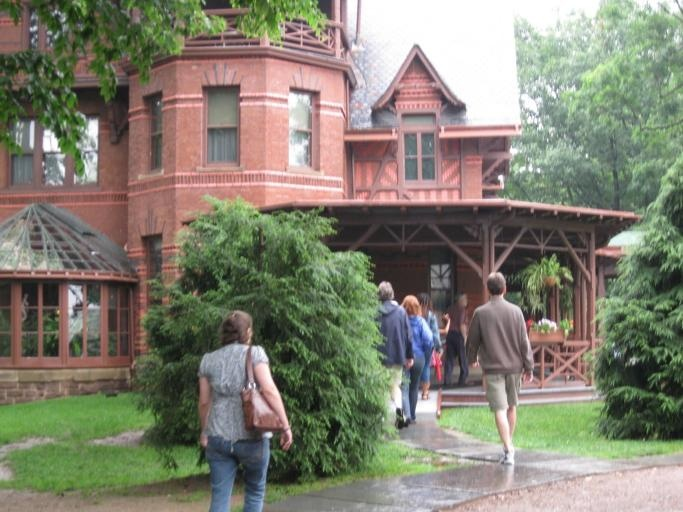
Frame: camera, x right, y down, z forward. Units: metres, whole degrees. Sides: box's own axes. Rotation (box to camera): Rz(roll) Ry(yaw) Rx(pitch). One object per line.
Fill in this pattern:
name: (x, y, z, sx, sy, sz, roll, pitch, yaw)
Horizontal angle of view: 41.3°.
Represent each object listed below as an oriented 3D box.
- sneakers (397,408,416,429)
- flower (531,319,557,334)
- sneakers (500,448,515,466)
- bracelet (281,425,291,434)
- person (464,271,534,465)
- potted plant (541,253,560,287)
sneakers: (1.137, 2.948, 16.343, 0.153, 0.253, 0.529, -1, -4, 13)
flower: (4.624, 1.615, 20.727, 0.352, 0.315, 0.386, 0, 0, 22)
sneakers: (2.541, 3.064, 13.854, 0.109, 0.172, 0.347, 1, -1, 5)
bracelet: (-0.674, 2.188, 11.350, 0.098, 0.029, 0.103, 4, 3, 40)
person: (2.443, 1.733, 14.025, 0.960, 2.878, 0.801, -1, 5, 18)
potted plant: (4.987, 0.326, 21.520, 0.540, 0.977, 0.597, -2, -2, 0)
